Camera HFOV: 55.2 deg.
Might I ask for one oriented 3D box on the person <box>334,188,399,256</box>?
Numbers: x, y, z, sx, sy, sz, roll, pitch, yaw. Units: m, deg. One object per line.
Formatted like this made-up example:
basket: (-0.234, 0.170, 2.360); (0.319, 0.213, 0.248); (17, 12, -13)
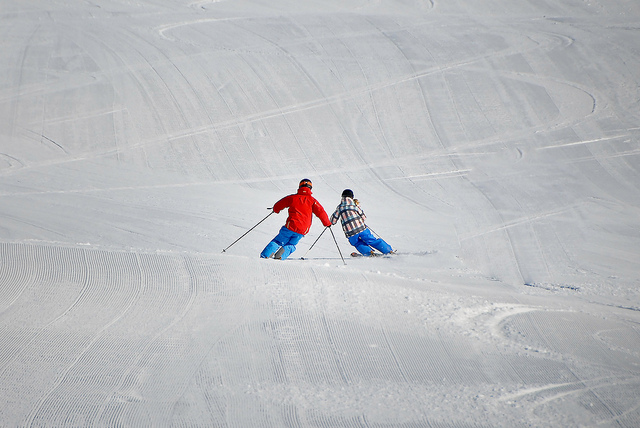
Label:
person: (0.844, 0.271, 12.836); (0.820, 0.569, 1.618); (-19, -69, 4)
